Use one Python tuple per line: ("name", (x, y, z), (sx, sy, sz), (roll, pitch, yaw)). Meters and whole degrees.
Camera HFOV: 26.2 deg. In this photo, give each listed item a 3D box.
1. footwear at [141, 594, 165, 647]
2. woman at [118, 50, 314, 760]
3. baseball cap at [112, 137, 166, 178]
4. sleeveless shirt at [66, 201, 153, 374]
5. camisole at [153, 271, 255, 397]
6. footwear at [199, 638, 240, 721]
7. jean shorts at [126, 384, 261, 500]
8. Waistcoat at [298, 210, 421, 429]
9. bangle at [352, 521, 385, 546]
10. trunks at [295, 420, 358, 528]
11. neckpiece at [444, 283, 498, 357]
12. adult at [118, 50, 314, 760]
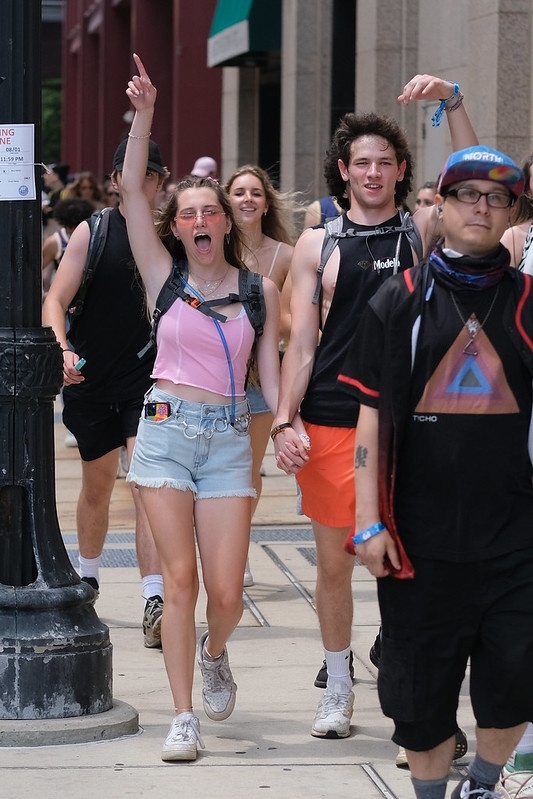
("footwear", (-0.500, 0.980, 5.000), (0.142, 0.186, 0.400), (1, -9, -10))
("woman", (-0.261, 0.009, 3.793), (0.516, 2.296, 0.826), (0, 7, 15))
("baseball cap", (-0.539, -1.051, 4.888), (0.200, 0.151, 0.269), (0, 3, -12))
("sleeveless shirt", (-0.718, -0.480, 5.102), (0.444, 0.712, 0.284), (5, 17, 27))
("camisole", (-0.184, -0.251, 3.865), (0.359, 0.426, 0.260), (7, 5, 12))
("footwear", (-0.157, 0.980, 3.949), (0.114, 0.306, 0.126), (-10, -1, 7))
("jean shorts", (-0.151, 0.151, 3.832), (0.465, 0.397, 0.295), (8, -2, 44))
("Waistcoat", (0.379, -0.293, 3.920), (0.371, 0.671, 0.311), (-1, -12, 30))
("bangle", (0.245, 0.330, 2.786), (0.064, 0.024, 0.062), (-36, -9, 22))
("trunks", (0.208, 0.248, 3.981), (0.289, 0.357, 0.211), (7, 0, 1))
("neckpiece", (0.497, -0.187, 2.750), (0.105, 0.158, 0.006), (5, 4, 17))
("adult", (-0.261, 0.009, 3.793), (0.516, 2.296, 0.826), (0, 7, 15))
